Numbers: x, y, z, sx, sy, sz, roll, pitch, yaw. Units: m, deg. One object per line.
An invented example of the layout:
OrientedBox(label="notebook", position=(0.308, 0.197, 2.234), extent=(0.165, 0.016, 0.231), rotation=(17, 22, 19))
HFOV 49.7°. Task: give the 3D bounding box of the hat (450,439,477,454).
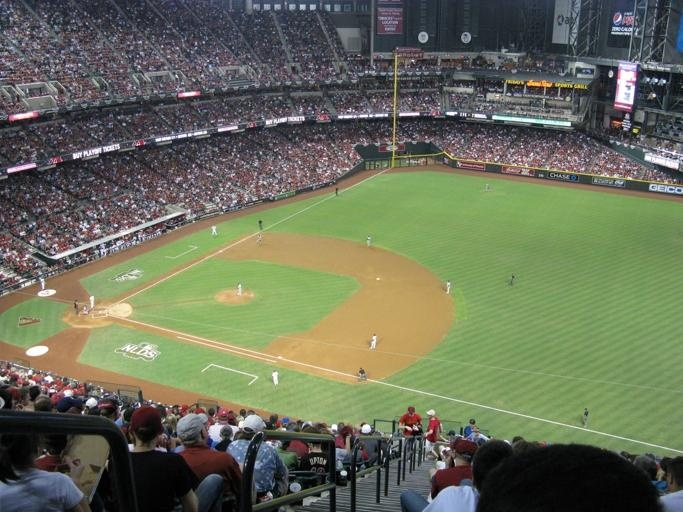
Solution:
OrientedBox(label="hat", position=(2.395, 3.723, 14.386), extent=(0.474, 0.262, 0.327), rotation=(0, -3, 12))
